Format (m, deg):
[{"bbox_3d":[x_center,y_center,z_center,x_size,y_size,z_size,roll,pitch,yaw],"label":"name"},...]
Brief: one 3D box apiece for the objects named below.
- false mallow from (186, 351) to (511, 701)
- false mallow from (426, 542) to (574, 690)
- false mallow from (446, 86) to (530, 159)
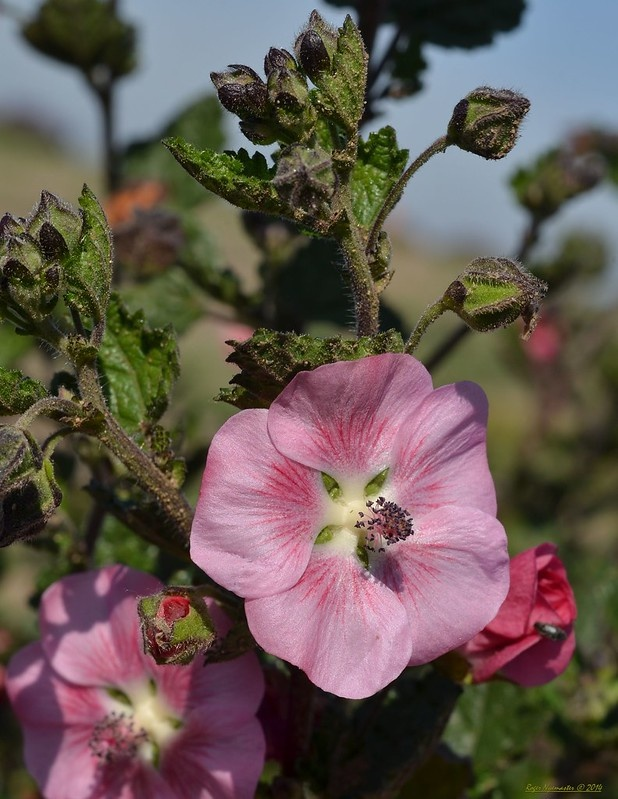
[{"bbox_3d":[0.089,0.145,1.145,0.161,0.419,0.396,21,59,28],"label":"false mallow"},{"bbox_3d":[0.269,0.255,1.203,0.110,0.189,0.124,-33,97,1],"label":"false mallow"},{"bbox_3d":[0.225,-0.352,1.243,0.090,0.079,0.070,14,68,8],"label":"false mallow"}]
